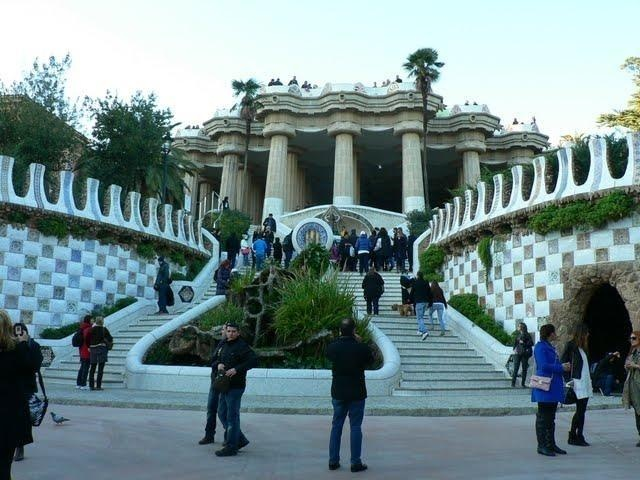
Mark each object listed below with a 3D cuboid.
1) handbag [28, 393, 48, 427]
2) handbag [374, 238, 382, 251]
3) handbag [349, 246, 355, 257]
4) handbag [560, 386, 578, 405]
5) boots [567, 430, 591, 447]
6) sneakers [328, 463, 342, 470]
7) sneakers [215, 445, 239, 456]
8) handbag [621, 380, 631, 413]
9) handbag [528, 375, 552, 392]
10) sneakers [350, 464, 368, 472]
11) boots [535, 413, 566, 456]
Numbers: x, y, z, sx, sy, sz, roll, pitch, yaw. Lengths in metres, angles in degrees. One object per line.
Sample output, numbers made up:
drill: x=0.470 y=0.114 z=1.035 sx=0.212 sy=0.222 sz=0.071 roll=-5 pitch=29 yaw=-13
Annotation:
handbag: x=-3.596 y=2.190 z=7.357 sx=0.190 sy=0.453 sz=0.506 roll=3 pitch=-4 yaw=-26
handbag: x=2.473 y=0.193 z=24.634 sx=0.129 sy=0.499 sz=0.462 roll=35 pitch=-24 yaw=-31
handbag: x=1.339 y=0.463 z=24.133 sx=0.274 sy=0.238 sz=0.677 roll=9 pitch=30 yaw=-4
handbag: x=3.819 y=2.370 z=8.777 sx=0.168 sy=0.258 sz=0.383 roll=-1 pitch=-4 yaw=24
boots: x=3.794 y=2.942 z=8.510 sx=0.342 sy=0.254 sz=0.135 roll=-3 pitch=-8 yaw=9
sneakers: x=0.185 y=2.844 z=7.250 sx=0.154 sy=0.074 sz=0.133 roll=2 pitch=-4 yaw=-5
sneakers: x=-1.271 y=2.840 z=7.779 sx=0.268 sy=0.122 sz=0.118 roll=6 pitch=-7 yaw=-8
handbag: x=4.687 y=2.310 z=8.758 sx=0.148 sy=0.515 sz=0.290 roll=-1 pitch=-4 yaw=28
handbag: x=3.123 y=2.018 z=8.136 sx=0.272 sy=0.196 sz=0.177 roll=-1 pitch=-4 yaw=26
sneakers: x=0.482 y=2.824 z=7.133 sx=0.182 sy=0.081 sz=0.076 roll=-1 pitch=0 yaw=-14
boots: x=3.156 y=2.672 z=7.955 sx=0.425 sy=0.529 sz=0.347 roll=5 pitch=-5 yaw=-44
